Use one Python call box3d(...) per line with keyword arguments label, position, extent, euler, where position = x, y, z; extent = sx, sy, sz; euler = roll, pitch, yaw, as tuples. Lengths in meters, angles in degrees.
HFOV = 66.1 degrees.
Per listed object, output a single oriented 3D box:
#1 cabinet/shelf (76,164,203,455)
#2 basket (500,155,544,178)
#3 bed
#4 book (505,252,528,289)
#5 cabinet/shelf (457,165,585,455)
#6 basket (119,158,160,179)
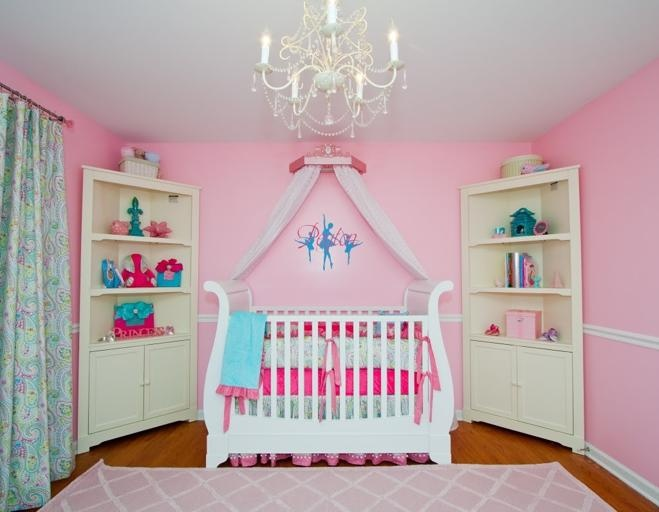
box3d(label="cabinet/shelf", position=(-1.622, 0.349, 4.384), extent=(0.975, 2.239, 1.086), euler=(-3, 12, -11))
box3d(label="basket", position=(1.673, -0.802, 4.444), extent=(0.234, 0.131, 0.239), euler=(0, 9, 44))
box3d(label="bed", position=(-0.012, 0.788, 4.316), extent=(1.861, 1.457, 1.192), euler=(0, 13, 1))
box3d(label="book", position=(1.693, 0.108, 4.613), extent=(0.229, 0.463, 0.322), euler=(1, 1, 28))
box3d(label="cabinet/shelf", position=(1.677, 0.393, 4.370), extent=(0.931, 2.253, 0.410), euler=(1, 4, 39))
box3d(label="basket", position=(-1.659, -0.742, 4.452), extent=(0.256, 0.133, 0.170), euler=(5, -3, -40))
